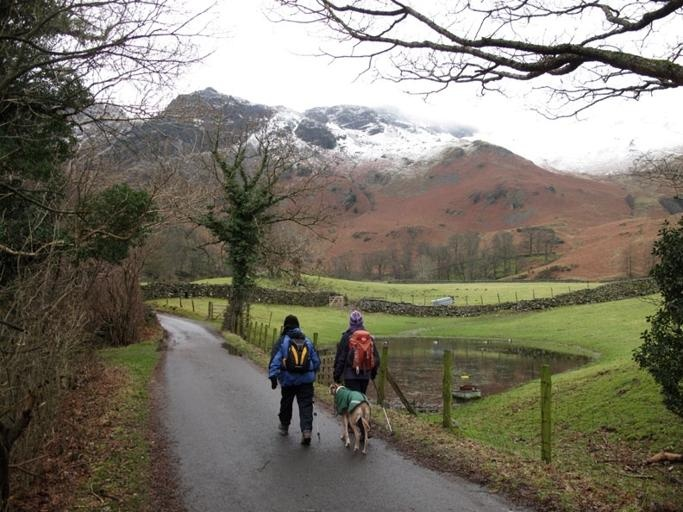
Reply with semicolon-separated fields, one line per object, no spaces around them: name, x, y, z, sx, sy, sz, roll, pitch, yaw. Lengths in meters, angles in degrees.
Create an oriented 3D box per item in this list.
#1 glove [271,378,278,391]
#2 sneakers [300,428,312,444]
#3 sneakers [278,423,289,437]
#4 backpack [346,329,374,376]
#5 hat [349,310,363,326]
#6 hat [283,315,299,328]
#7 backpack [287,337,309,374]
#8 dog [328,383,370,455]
glove;-1.647;3.133;15.069;0.159;0.281;0.115;-1;5;6
sneakers;-0.856;4.418;15.015;0.234;0.359;0.225;5;-1;0
sneakers;-1.467;4.396;15.552;0.184;0.260;0.249;3;-2;-1
backpack;0.522;2.442;15.574;0.701;1.103;0.329;5;0;-10
hat;0.371;1.595;15.831;0.285;0.367;0.401;1;13;-2
hat;-1.236;1.636;15.428;0.268;0.383;0.364;6;23;12
backpack;-1.065;2.463;15.072;0.593;0.844;0.311;5;0;-3
dog;0.246;3.974;15.208;0.809;1.590;1.311;5;-1;-16
